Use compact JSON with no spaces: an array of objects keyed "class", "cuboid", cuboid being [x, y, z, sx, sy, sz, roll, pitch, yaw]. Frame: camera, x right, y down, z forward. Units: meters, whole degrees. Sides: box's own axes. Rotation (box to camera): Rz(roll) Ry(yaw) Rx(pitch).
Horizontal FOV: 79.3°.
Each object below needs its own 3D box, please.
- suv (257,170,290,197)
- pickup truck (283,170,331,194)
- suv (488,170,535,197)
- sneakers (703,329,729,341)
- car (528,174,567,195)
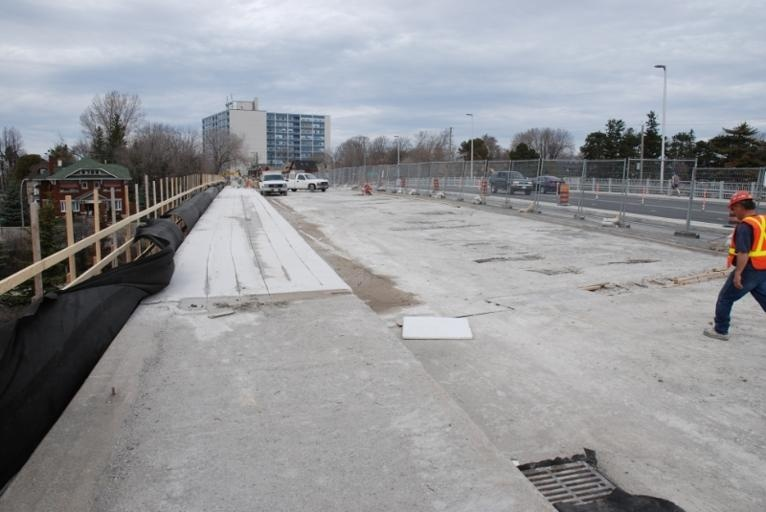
[{"class":"suv","cuboid":[-10.190,-6.629,42.360,2.325,1.813,4.045,-3,2,-20]},{"class":"pickup truck","cuboid":[-8.097,-7.759,48.948,4.563,1.752,2.152,1,9,11]},{"class":"suv","cuboid":[7.824,-4.625,29.225,1.517,1.166,3.060,-3,6,-16]},{"class":"sneakers","cuboid":[4.968,1.179,6.931,0.343,0.148,0.157,15,15,37]},{"class":"car","cuboid":[8.831,-3.823,24.612,1.199,0.788,2.485,-2,12,-7]}]
